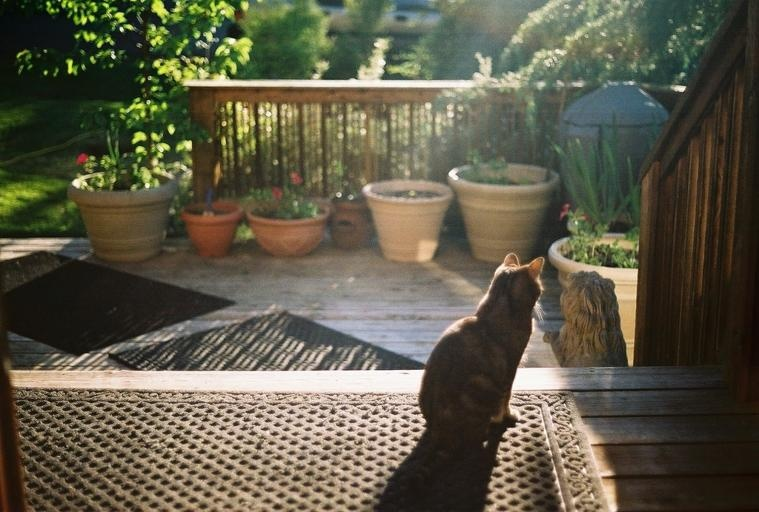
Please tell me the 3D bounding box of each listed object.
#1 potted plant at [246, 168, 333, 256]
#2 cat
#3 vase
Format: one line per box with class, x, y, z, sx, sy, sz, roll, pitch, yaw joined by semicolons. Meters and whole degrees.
potted plant;-0.740;-0.327;6.263;0.734;0.624;0.747;-14;30;-26
cat;0.400;0.449;3.443;0.547;0.865;0.525;7;22;3
vase;0.217;-0.290;6.149;0.738;0.542;0.541;0;22;-2
